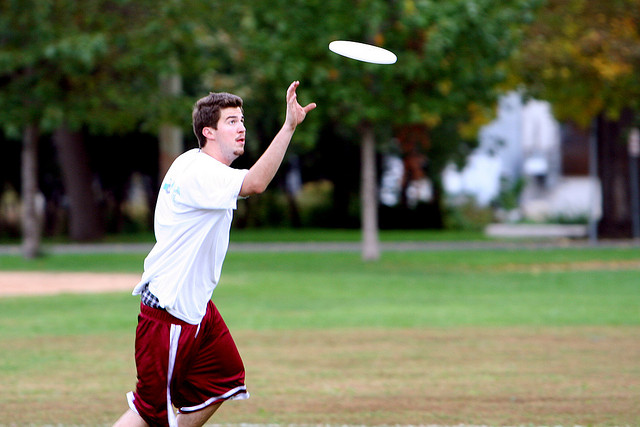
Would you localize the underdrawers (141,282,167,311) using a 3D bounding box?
[{"bbox_3d":[-1.486,0.743,11.452,0.242,0.248,0.063,-2,-1,29],"label":"underdrawers"}]
